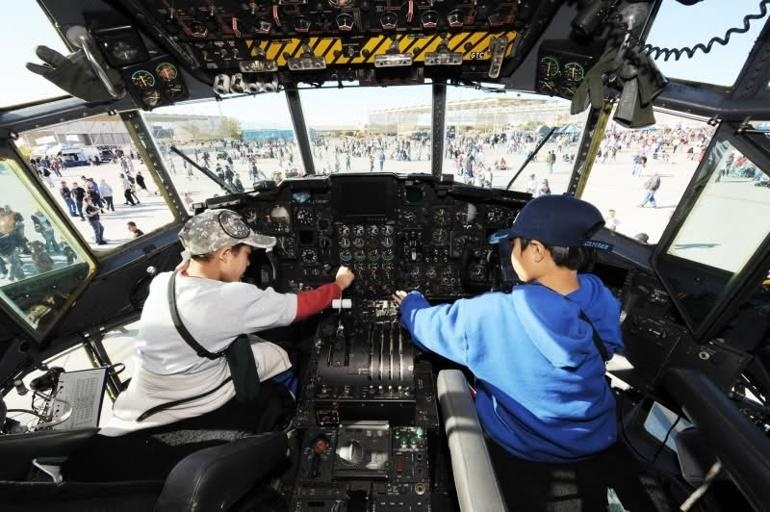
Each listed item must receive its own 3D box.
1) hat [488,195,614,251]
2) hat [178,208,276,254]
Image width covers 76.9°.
[{"bbox_3d":[1.242,-0.252,3.670,0.657,0.286,0.398,9,4,23],"label":"hat"},{"bbox_3d":[-1.379,-0.236,4.285,0.688,0.315,0.416,-13,17,-25],"label":"hat"}]
